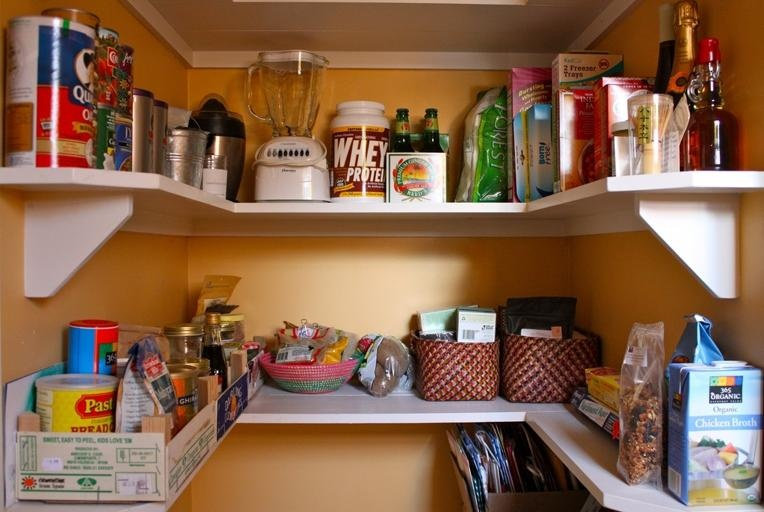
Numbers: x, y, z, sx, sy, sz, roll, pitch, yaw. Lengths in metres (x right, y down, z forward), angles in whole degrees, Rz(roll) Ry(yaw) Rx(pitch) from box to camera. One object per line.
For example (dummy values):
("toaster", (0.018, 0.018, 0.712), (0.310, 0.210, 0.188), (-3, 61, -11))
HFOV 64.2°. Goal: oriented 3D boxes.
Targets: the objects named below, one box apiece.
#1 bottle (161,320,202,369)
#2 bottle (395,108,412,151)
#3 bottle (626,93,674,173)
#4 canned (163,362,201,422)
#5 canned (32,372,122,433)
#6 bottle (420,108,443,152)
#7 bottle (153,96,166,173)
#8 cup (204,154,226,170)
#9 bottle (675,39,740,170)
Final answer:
("bottle", (-0.486, 0.219, 1.483), (0.089, 0.089, 0.091), (0, -1, 44))
("bottle", (0.058, -0.373, 1.808), (0.051, 0.134, 0.063), (-1, -2, 3))
("bottle", (0.569, -0.258, 1.290), (0.088, 0.174, 0.067), (-2, -2, 10))
("canned", (-0.446, 0.311, 1.364), (0.062, 0.128, 0.127), (-1, -1, -18))
("canned", (-0.639, 0.312, 1.255), (0.129, 0.084, 0.129), (2, -2, -5))
("bottle", (0.156, -0.390, 1.875), (0.059, 0.164, 0.175), (-1, -1, 5))
("bottle", (-0.532, -0.281, 1.473), (0.026, 0.173, 0.110), (-1, -1, -12))
("cup", (-0.465, -0.260, 1.677), (0.033, 0.048, 0.085), (-2, -1, 17))
("bottle", (0.691, -0.318, 1.289), (0.102, 0.271, 0.064), (-2, -2, 26))
